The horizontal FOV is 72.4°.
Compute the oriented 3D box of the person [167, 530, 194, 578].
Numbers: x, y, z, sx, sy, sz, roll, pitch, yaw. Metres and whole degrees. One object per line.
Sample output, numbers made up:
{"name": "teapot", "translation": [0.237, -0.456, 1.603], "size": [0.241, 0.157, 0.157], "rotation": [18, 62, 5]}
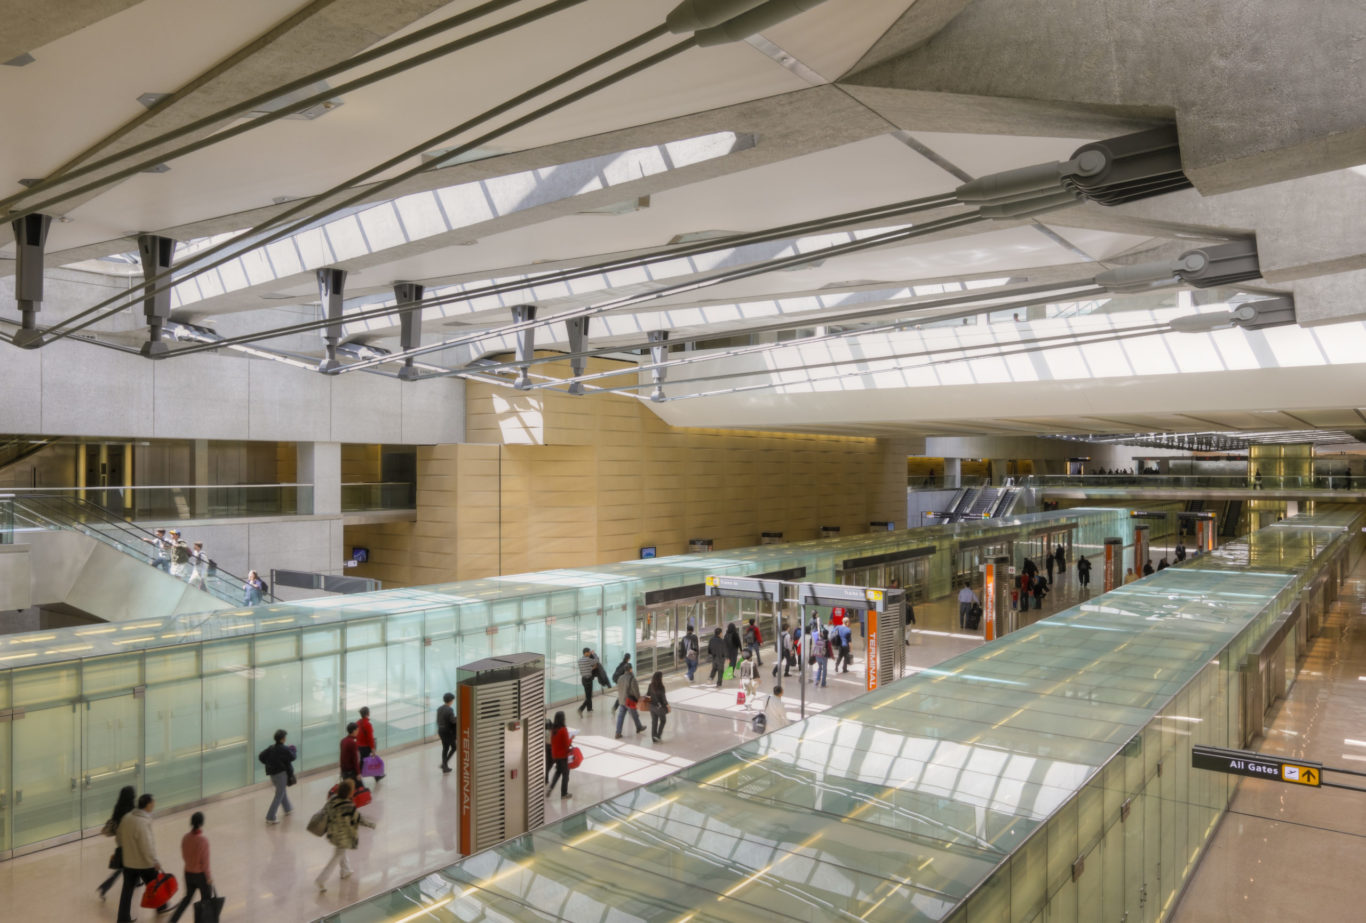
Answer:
{"name": "person", "translation": [-11.426, 2.146, 21.073], "size": [0.494, 0.823, 0.936], "rotation": [-5, 5, -28]}

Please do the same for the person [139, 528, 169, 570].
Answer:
{"name": "person", "translation": [-11.876, 2.008, 21.010], "size": [0.495, 0.821, 1.145], "rotation": [-5, 5, -29]}
